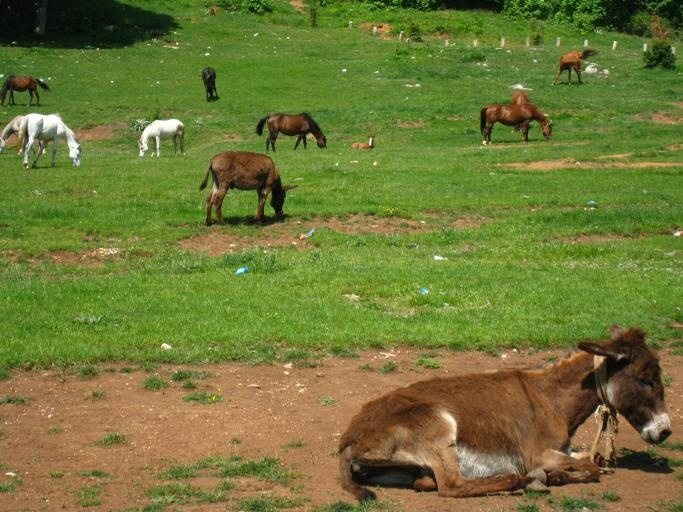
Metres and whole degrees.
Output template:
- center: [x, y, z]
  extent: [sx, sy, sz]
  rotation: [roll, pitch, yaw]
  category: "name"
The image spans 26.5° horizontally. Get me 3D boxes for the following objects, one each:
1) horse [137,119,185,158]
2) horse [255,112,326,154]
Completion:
- center: [-9.783, -6.844, 78.939]
  extent: [2.018, 2.560, 1.995]
  rotation: [1, 21, 7]
  category: "horse"
- center: [-2.815, -6.752, 80.708]
  extent: [3.092, 2.681, 3.270]
  rotation: [-13, 22, -34]
  category: "horse"
